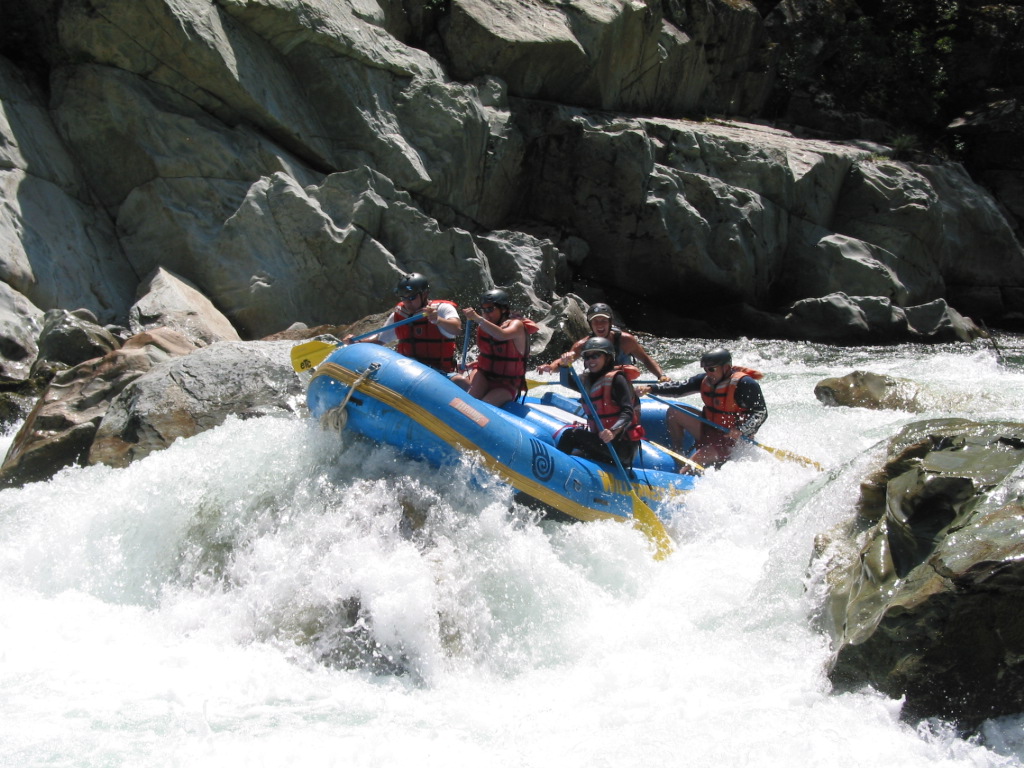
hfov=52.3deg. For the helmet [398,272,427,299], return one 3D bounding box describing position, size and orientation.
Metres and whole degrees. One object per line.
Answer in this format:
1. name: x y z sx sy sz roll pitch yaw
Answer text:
1. helmet: -1.010 -0.977 10.447 0.225 0.289 0.318 -8 53 -2
